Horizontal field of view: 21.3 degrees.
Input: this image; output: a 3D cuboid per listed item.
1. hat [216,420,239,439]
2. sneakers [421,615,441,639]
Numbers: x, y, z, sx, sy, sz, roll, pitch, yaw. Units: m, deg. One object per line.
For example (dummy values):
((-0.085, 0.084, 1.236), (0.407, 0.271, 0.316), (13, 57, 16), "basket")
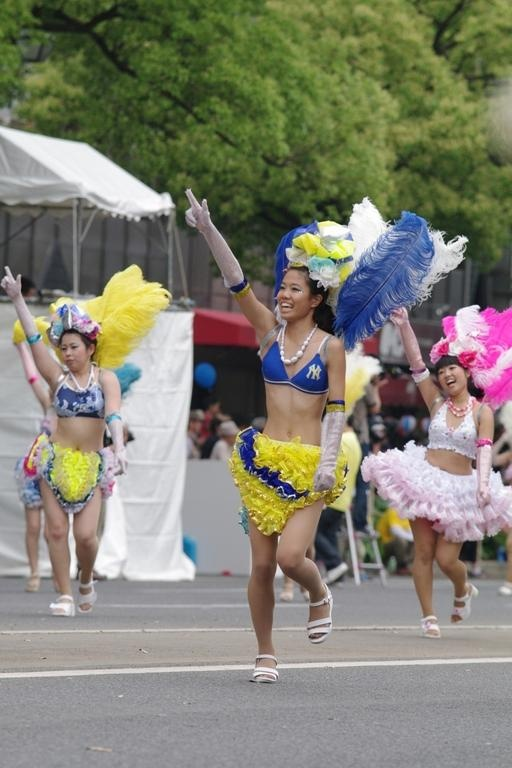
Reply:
((-0.268, 0.433, 12.965), (0.174, 0.126, 0.245), (1, 2, 6), "hat")
((0.917, 1.262, 7.072), (0.066, 0.064, 0.169), (-2, -5, 0), "sneakers")
